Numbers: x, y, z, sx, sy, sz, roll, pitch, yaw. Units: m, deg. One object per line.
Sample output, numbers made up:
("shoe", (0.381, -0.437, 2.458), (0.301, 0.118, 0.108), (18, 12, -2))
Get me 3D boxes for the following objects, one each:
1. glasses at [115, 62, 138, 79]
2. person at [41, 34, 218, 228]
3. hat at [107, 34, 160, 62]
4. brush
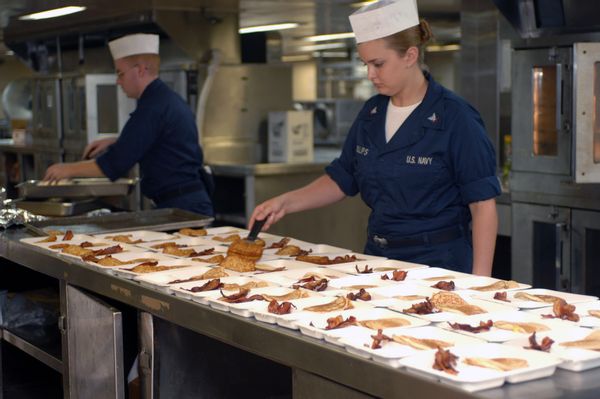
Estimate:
("glasses", (-1.086, -0.805, 3.969), (0.104, 0.105, 0.036), (6, 6, 39))
("person", (-0.972, -0.439, 3.890), (0.820, 1.117, 0.574), (-4, 12, -8))
("hat", (-1.037, -0.965, 4.109), (0.331, 0.115, 0.305), (-6, 4, 21))
("brush", (-0.212, 0.180, 2.689), (0.155, 0.066, 0.514), (11, 23, 2))
